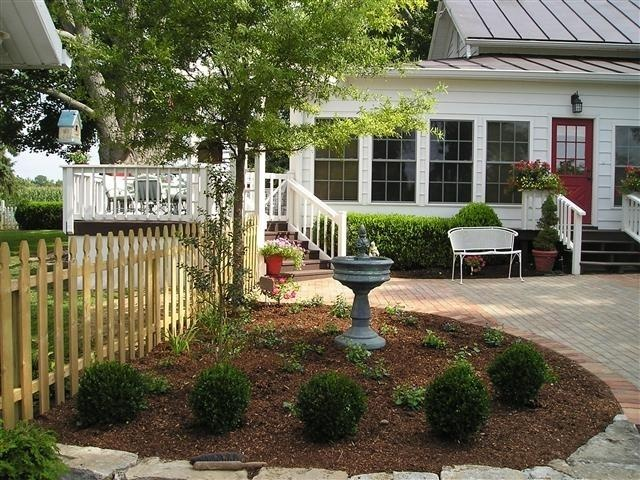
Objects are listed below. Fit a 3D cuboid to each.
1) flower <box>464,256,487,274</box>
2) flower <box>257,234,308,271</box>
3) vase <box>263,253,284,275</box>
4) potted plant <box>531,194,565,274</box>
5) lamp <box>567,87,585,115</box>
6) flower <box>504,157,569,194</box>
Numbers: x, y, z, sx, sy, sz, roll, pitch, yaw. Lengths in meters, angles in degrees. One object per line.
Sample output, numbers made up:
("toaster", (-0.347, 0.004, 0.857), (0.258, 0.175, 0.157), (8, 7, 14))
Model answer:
("flower", (3.480, 0.539, 12.286), (0.412, 0.497, 0.403), (0, 2, -39))
("flower", (-0.769, 0.185, 11.006), (0.665, 0.488, 0.661), (11, 5, -29))
("vase", (-0.919, 0.502, 10.775), (0.360, 0.313, 0.378), (0, -3, -3))
("potted plant", (5.245, -0.142, 12.571), (0.526, 1.743, 0.723), (5, 11, 23))
("lamp", (6.543, -3.479, 13.830), (0.346, 0.582, 0.513), (6, 11, 26))
("flower", (5.217, -1.470, 13.488), (0.971, 0.775, 0.996), (0, 3, -11))
